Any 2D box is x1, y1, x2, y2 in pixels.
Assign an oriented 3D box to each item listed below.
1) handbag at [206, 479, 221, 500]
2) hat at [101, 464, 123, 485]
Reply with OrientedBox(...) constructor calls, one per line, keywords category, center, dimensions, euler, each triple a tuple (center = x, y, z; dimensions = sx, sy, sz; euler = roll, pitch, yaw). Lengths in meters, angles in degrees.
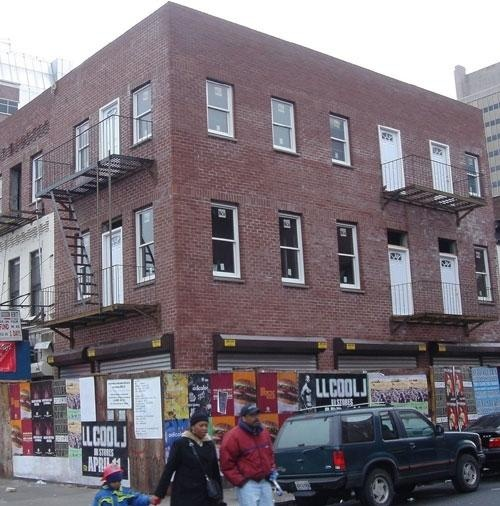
OrientedBox(category="handbag", center=(-0.375, 2.358, 7.120), dimensions=(0.070, 0.177, 0.138), euler=(-32, -38, 22))
OrientedBox(category="hat", center=(-1.368, 2.139, 6.925), dimensions=(0.197, 0.126, 0.185), euler=(-17, -12, 31))
